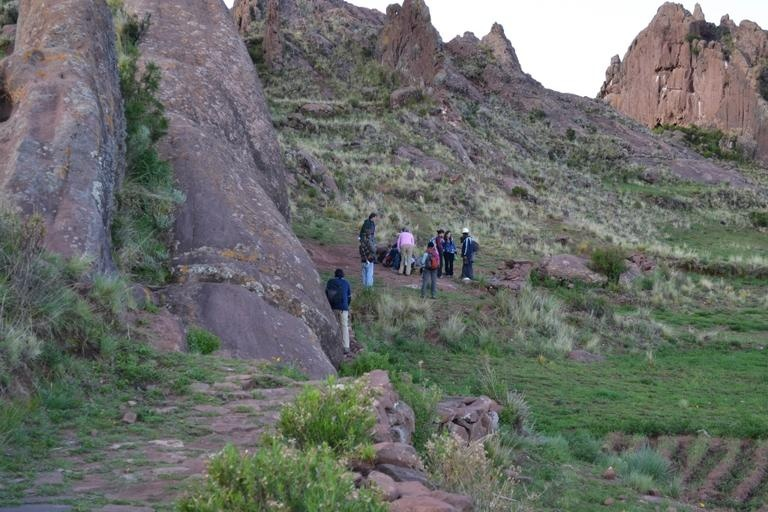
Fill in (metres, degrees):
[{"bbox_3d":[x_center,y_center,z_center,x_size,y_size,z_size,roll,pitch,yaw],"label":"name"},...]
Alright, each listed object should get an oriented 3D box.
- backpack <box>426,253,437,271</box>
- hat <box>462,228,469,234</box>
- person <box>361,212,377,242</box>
[{"bbox_3d":[1.552,0.141,28.831,0.330,0.486,0.445,3,-7,-15],"label":"backpack"},{"bbox_3d":[3.074,-1.014,33.669,0.345,0.221,0.374,2,12,12],"label":"hat"},{"bbox_3d":[-0.529,-1.024,30.545,0.476,1.386,0.864,5,19,10],"label":"person"}]
